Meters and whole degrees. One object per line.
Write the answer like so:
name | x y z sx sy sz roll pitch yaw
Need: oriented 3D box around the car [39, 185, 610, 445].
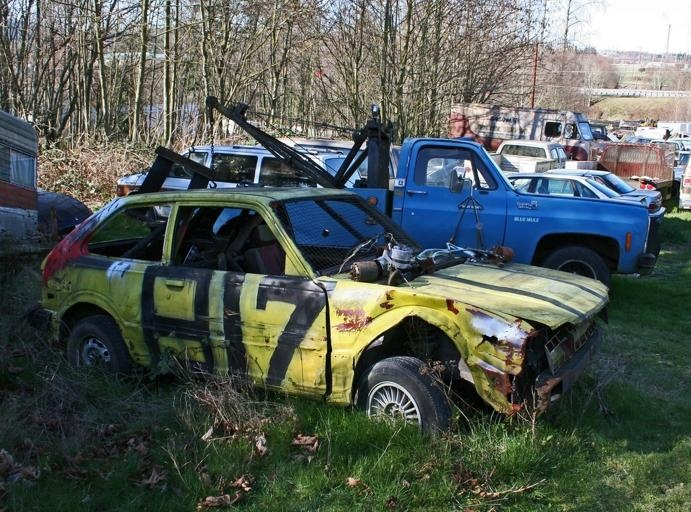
car | -0.361 0.388 5.439 4.868 1.752 2.355 5 15 24

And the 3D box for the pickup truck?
pickup truck | 0.554 -1.034 9.695 8.377 3.690 2.970 5 1 7
